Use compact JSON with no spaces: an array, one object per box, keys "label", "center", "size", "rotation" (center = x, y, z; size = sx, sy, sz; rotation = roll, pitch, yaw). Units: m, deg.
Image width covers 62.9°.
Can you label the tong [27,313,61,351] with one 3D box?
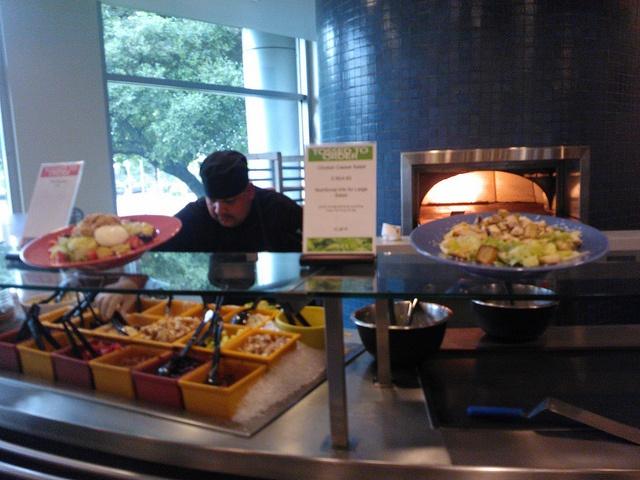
[{"label":"tong","center":[-0.919,0.302,1.743],"size":[0.057,0.182,0.028],"rotation":[-34,-20,2]}]

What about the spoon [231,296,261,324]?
[{"label":"spoon","center":[-0.261,0.245,1.849],"size":[0.056,0.061,0.188],"rotation":[2,14,19]}]

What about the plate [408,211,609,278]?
[{"label":"plate","center":[0.534,0.028,1.391],"size":[0.427,0.070,0.431],"rotation":[0,19,23]}]

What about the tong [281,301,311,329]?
[{"label":"tong","center":[-0.081,0.239,1.651],"size":[0.046,0.123,0.090],"rotation":[-22,13,-11]}]

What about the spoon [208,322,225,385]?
[{"label":"spoon","center":[-0.311,0.344,1.598],"size":[0.047,0.034,0.170],"rotation":[6,43,-2]}]

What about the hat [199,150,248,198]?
[{"label":"hat","center":[-0.446,-0.306,2.438],"size":[0.202,0.180,0.238],"rotation":[-1,14,-5]}]

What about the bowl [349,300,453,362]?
[{"label":"bowl","center":[0.264,0.316,1.729],"size":[0.327,0.144,0.314],"rotation":[-4,4,0]}]

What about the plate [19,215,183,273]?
[{"label":"plate","center":[-0.622,0.019,1.581],"size":[0.260,0.043,0.266],"rotation":[16,24,40]}]

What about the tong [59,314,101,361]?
[{"label":"tong","center":[-0.779,0.309,1.678],"size":[0.064,0.210,0.032],"rotation":[-23,-15,-28]}]

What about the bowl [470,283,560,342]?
[{"label":"bowl","center":[0.617,0.244,1.618],"size":[0.265,0.121,0.252],"rotation":[0,-1,0]}]

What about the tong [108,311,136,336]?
[{"label":"tong","center":[-0.657,0.284,1.731],"size":[0.044,0.027,0.159],"rotation":[-33,39,-17]}]
